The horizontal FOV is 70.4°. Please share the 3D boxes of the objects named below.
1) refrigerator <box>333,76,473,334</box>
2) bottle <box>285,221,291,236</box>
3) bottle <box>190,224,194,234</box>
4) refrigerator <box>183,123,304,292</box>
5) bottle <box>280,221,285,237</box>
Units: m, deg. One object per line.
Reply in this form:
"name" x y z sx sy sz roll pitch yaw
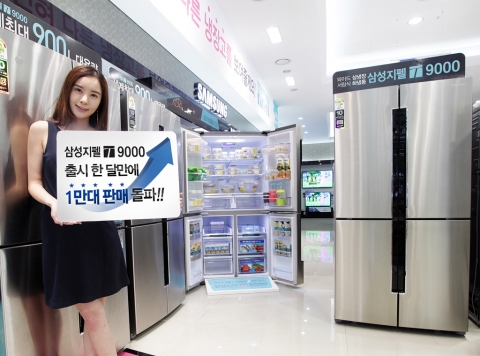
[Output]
"refrigerator" 1.640 0.263 3.489 1.262 2.488 0.359 1 7 11
"bottle" 0.668 0.708 4.721 0.028 0.213 0.112 -5 8 -29
"bottle" -0.658 0.708 4.693 0.019 0.147 0.101 2 8 22
"refrigerator" 0.084 0.343 5.104 1.628 2.214 1.122 0 7 4
"bottle" 0.602 0.714 4.800 0.042 0.207 0.135 -6 9 -36
